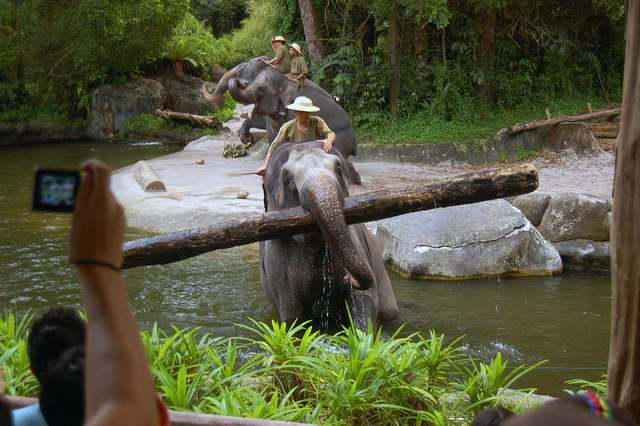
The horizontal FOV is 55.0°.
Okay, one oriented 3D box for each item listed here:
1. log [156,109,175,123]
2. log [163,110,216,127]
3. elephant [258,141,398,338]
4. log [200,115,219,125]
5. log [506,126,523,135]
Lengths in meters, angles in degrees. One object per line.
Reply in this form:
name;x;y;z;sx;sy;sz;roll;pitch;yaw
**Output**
log;-6.768;-4.238;26.911;0.180;0.722;0.191;-41;17;23
log;-5.763;-4.111;26.778;1.942;0.529;0.357;15;52;21
elephant;0.140;0.516;8.347;1.111;1.889;2.978;-21;-17;-5
log;-4.631;-3.967;26.250;0.569;0.383;0.462;-3;6;10
log;5.463;-2.340;17.389;0.429;0.209;0.350;-3;6;4
